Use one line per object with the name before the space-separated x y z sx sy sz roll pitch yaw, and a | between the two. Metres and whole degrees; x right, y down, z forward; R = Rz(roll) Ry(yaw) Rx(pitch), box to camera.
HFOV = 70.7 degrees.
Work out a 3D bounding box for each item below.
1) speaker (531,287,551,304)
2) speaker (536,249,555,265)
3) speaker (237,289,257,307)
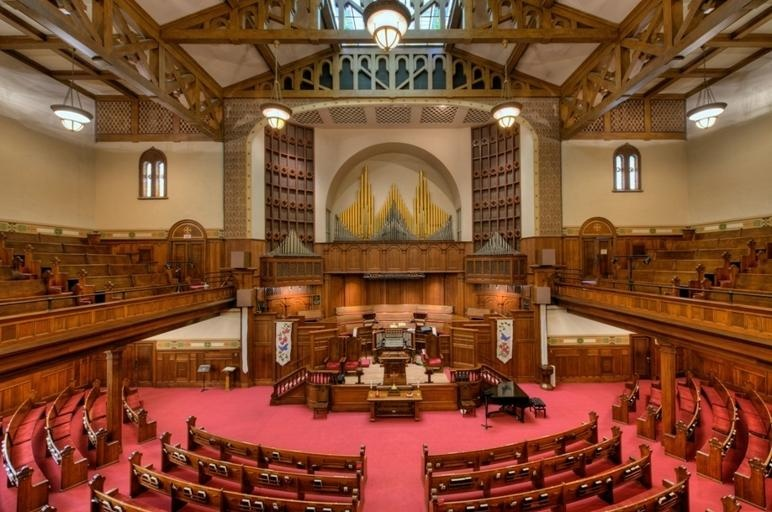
speaker | 7.115 1.762 24.813 0.929 0.918 0.661 0 -8 4
speaker | 7.452 0.038 25.331 0.745 0.739 0.733 1 -2 10
speaker | -6.302 1.877 24.711 0.716 0.992 1.016 1 -3 -36
